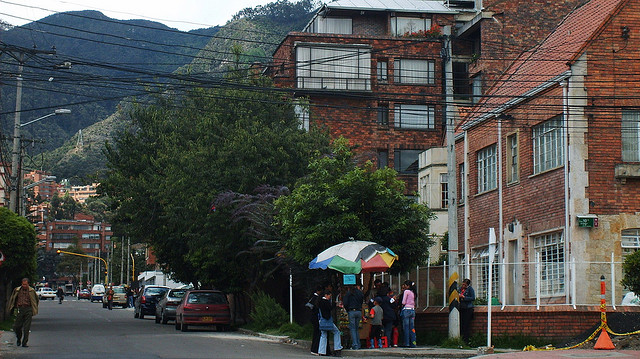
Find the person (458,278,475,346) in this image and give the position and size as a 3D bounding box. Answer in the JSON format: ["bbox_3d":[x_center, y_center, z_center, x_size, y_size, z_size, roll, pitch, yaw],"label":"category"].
[{"bbox_3d":[9.183,8.404,69.483,0.934,4.121,0.960,0,-12,7],"label":"person"}]

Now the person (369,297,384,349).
[{"bbox_3d":[3.522,8.979,69.450,0.904,3.083,1.208,1,-11,2],"label":"person"}]

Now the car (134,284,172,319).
[{"bbox_3d":[-14.192,10.221,91.237,2.998,2.714,5.021,1,2,-13],"label":"car"}]

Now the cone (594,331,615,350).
[{"bbox_3d":[15.949,9.147,62.798,1.127,0.890,1.127,-10,-13,41],"label":"cone"}]

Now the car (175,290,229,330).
[{"bbox_3d":[-9.194,9.493,80.595,3.644,2.867,6.722,3,-4,-21],"label":"car"}]

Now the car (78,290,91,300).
[{"bbox_3d":[-35.429,17.394,166.269,1.843,1.136,3.060,1,1,-11],"label":"car"}]

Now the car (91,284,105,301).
[{"bbox_3d":[-27.639,14.335,138.690,1.925,1.727,3.511,1,2,-9],"label":"car"}]
